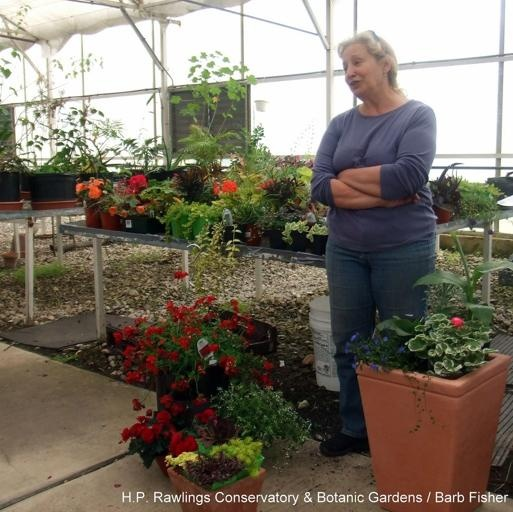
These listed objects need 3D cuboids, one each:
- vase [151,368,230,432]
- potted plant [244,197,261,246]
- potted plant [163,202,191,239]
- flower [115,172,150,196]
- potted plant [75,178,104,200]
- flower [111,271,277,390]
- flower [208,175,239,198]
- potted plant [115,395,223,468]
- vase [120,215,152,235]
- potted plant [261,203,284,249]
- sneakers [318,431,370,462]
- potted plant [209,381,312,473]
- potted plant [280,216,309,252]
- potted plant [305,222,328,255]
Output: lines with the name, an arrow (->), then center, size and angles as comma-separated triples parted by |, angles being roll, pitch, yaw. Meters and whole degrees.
vase -> -0.314, 0.629, 2.043 | 0.282, 0.182, 0.300 | -1, -4, 27
potted plant -> -0.042, -0.192, 2.767 | 0.130, 0.267, 0.074 | -5, 11, -2
potted plant -> -0.534, -0.236, 3.025 | 0.176, 0.235, 0.394 | -6, 10, -11
flower -> -0.960, -0.536, 3.431 | 0.258, 0.144, 0.330 | -5, 10, -14
potted plant -> -1.228, -0.516, 3.492 | 0.234, 0.143, 0.234 | -2, 11, 44
flower -> -0.326, 0.409, 2.141 | 0.441, 0.223, 0.379 | 13, 15, 16
flower -> -0.224, -0.469, 3.061 | 0.183, 0.099, 0.199 | -10, 9, -8
potted plant -> -0.440, 0.764, 1.897 | 0.231, 0.139, 0.221 | 5, -4, 20
vase -> -0.866, -0.220, 3.300 | 0.295, 0.148, 0.146 | 2, 1, 28
potted plant -> 0.102, -0.170, 2.780 | 0.138, 0.244, 0.280 | -4, 10, 1
sneakers -> 0.403, 0.875, 2.073 | 0.275, 0.084, 0.087 | 1, 5, -10
potted plant -> 0.012, 0.710, 2.063 | 0.293, 0.194, 0.338 | -3, -18, -36
potted plant -> 0.221, -0.106, 2.579 | 0.170, 0.179, 0.099 | -1, 11, 14
potted plant -> 0.335, -0.087, 2.499 | 0.202, 0.169, 0.166 | -1, 8, -1
